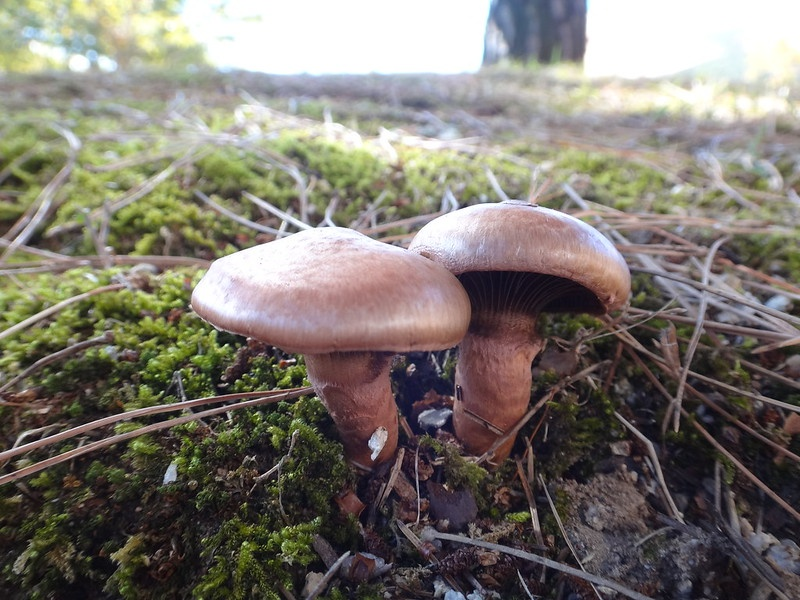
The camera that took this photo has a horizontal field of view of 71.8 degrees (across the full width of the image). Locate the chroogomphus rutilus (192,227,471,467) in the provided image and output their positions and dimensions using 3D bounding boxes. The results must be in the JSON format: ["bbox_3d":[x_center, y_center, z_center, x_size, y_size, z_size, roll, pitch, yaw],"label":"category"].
[{"bbox_3d":[-0.332,0.376,3.059,1.405,1.437,0.559,1,21,6],"label":"chroogomphus rutilus"}]

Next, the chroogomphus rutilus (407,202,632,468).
[{"bbox_3d":[0.588,0.287,3.546,1.424,1.589,1.396,10,-5,-10],"label":"chroogomphus rutilus"}]
